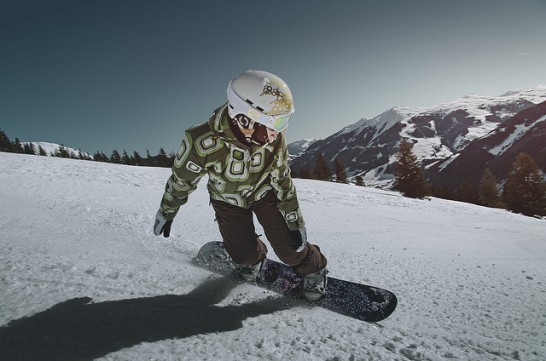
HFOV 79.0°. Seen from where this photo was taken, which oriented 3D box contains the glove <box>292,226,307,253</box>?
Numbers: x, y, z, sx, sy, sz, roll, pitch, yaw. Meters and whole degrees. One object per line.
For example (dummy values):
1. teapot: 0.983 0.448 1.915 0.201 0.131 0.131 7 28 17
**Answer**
1. glove: 0.430 0.939 5.373 0.165 0.437 0.085 4 -4 -1
